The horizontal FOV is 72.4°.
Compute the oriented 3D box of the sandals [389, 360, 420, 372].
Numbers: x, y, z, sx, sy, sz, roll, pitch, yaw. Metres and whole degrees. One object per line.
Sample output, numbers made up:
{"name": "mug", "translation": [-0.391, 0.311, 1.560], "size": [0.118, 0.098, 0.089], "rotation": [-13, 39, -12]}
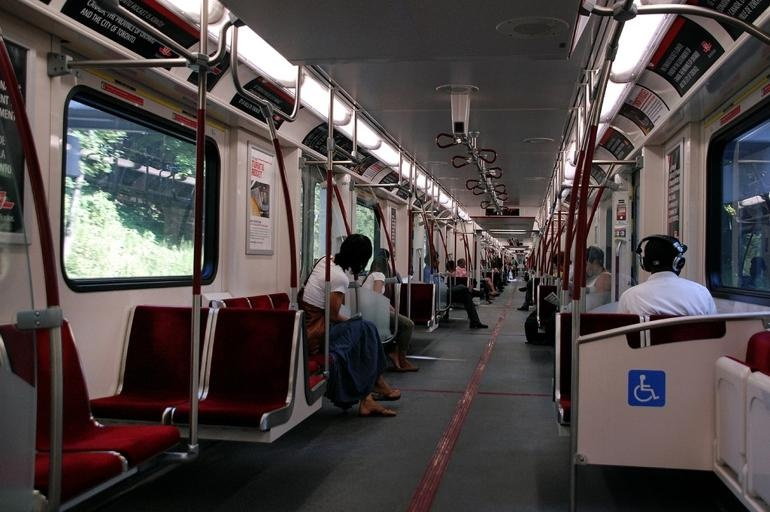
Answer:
{"name": "sandals", "translation": [0.295, 1.651, 7.876], "size": [0.480, 0.193, 0.158], "rotation": [-4, -14, 12]}

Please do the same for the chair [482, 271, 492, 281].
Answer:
{"name": "chair", "translation": [4.288, 0.838, 22.045], "size": [0.304, 0.380, 0.566], "rotation": [-1, 1, 13]}

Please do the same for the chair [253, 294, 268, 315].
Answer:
{"name": "chair", "translation": [-1.584, 0.568, 6.681], "size": [0.177, 0.158, 0.419], "rotation": [-3, -4, -7]}

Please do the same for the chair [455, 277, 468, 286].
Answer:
{"name": "chair", "translation": [2.337, 0.745, 15.915], "size": [0.400, 0.385, 0.212], "rotation": [0, 9, 5]}

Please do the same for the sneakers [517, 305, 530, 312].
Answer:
{"name": "sneakers", "translation": [4.527, 1.715, 17.193], "size": [0.440, 0.272, 0.146], "rotation": [4, -3, 14]}

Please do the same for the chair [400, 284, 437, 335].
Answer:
{"name": "chair", "translation": [0.569, 0.941, 10.306], "size": [0.805, 0.741, 0.610], "rotation": [3, 10, 31]}

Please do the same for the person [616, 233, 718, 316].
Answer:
{"name": "person", "translation": [2.308, 0.232, 4.340], "size": [0.766, 0.839, 0.478], "rotation": [-9, 9, 23]}

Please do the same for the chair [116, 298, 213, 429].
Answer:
{"name": "chair", "translation": [-1.885, 0.846, 4.476], "size": [0.984, 0.963, 0.827], "rotation": [0, -4, 17]}

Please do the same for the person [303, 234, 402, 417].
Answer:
{"name": "person", "translation": [-0.418, 0.710, 5.729], "size": [1.188, 1.876, 0.805], "rotation": [-1, -2, -16]}

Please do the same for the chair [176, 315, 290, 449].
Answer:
{"name": "chair", "translation": [-1.141, 0.887, 4.125], "size": [0.808, 0.957, 0.457], "rotation": [-5, -4, 13]}

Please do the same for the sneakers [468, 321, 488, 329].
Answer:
{"name": "sneakers", "translation": [2.190, 1.626, 12.420], "size": [0.558, 0.222, 0.169], "rotation": [-1, -2, 0]}

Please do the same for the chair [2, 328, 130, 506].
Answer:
{"name": "chair", "translation": [-1.844, 0.907, 3.160], "size": [0.566, 1.064, 1.177], "rotation": [-2, -4, -26]}

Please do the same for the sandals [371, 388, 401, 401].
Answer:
{"name": "sandals", "translation": [0.039, 1.653, 6.276], "size": [0.367, 0.146, 0.124], "rotation": [-6, -2, 14]}

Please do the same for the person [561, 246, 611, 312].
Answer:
{"name": "person", "translation": [2.632, 0.411, 6.791], "size": [0.549, 1.007, 0.636], "rotation": [0, 5, 10]}

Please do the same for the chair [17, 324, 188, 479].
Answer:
{"name": "chair", "translation": [-1.871, 0.867, 3.133], "size": [1.025, 0.883, 0.661], "rotation": [3, -1, 0]}
